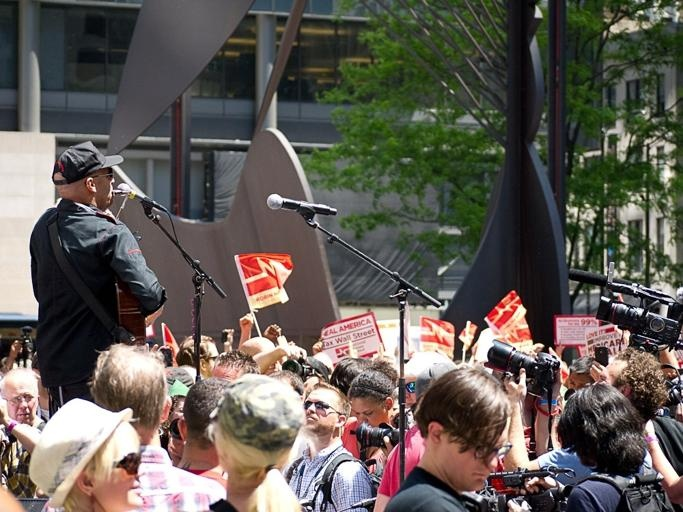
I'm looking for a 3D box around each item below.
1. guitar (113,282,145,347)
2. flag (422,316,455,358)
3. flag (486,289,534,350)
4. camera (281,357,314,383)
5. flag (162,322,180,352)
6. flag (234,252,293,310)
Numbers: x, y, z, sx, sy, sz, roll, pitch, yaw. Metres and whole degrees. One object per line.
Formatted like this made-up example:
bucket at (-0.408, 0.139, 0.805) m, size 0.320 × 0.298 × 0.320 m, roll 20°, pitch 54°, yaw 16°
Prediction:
guitar at (-3.396, 0.912, 25.247) m, size 0.489 × 1.001 × 0.288 m, roll 2°, pitch 3°, yaw -9°
flag at (1.835, 1.567, 29.327) m, size 0.896 × 0.966 × 0.107 m, roll 6°, pitch -12°, yaw -26°
flag at (3.277, 1.281, 29.635) m, size 0.740 × 1.234 × 0.684 m, roll -4°, pitch 1°, yaw 32°
camera at (-0.711, 1.973, 26.597) m, size 0.384 × 0.191 × 0.393 m, roll 8°, pitch -4°, yaw 33°
flag at (-3.496, 1.668, 32.084) m, size 0.171 × 0.722 × 0.185 m, roll 1°, pitch 15°, yaw 44°
flag at (-1.356, 0.422, 30.284) m, size 1.145 × 1.112 × 0.172 m, roll -12°, pitch -3°, yaw -22°
